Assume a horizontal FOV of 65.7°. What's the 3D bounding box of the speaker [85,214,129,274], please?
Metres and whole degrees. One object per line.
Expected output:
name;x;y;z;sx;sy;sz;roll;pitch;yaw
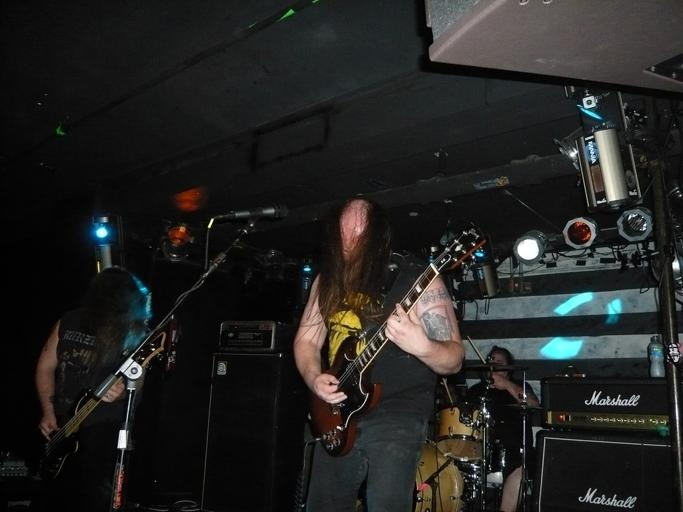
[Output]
speaker;-2.310;-0.106;5.238;0.332;0.569;0.351;8;-13;-19

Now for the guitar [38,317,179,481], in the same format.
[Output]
guitar;-1.562;0.981;3.456;1.215;1.072;0.266;-9;-17;44

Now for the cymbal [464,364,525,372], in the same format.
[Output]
cymbal;1.788;1.310;6.143;0.429;0.058;0.400;1;-23;0

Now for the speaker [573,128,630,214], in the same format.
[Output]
speaker;2.121;-0.697;4.272;0.337;0.607;0.256;-5;-15;35

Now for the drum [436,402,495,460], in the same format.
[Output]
drum;1.277;1.874;5.555;0.552;0.387;0.541;7;-24;3
